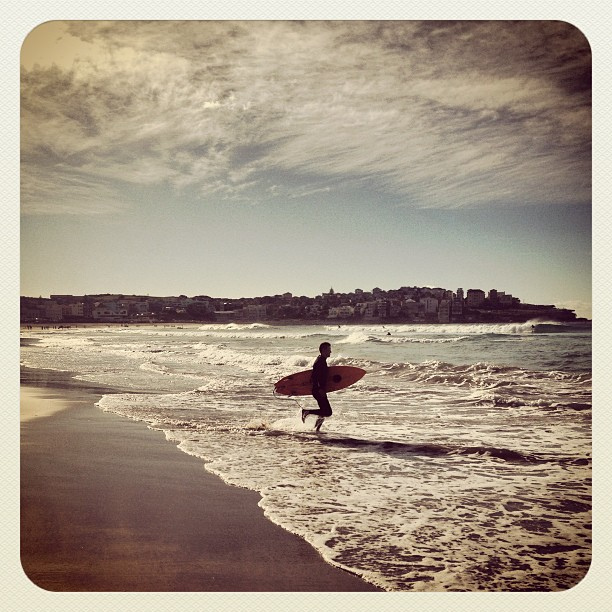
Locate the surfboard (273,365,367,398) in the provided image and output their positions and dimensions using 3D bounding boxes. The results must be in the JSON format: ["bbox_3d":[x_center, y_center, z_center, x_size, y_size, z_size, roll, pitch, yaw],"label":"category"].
[{"bbox_3d":[0.291,1.843,19.310,2.838,0.686,0.334,-8,17,-28],"label":"surfboard"}]
